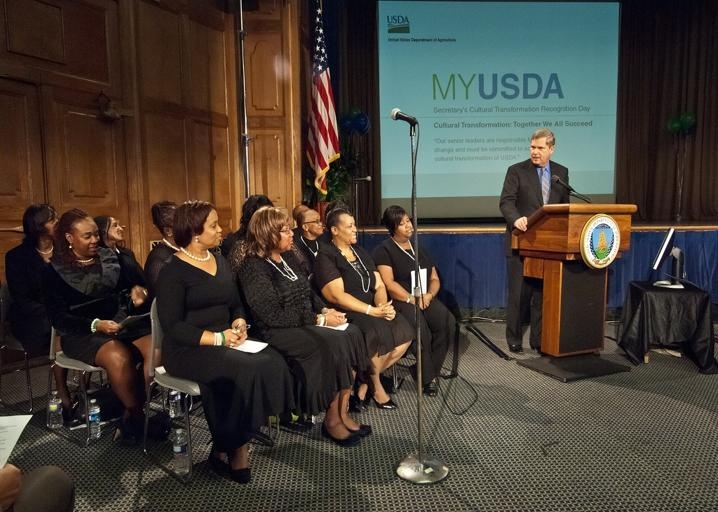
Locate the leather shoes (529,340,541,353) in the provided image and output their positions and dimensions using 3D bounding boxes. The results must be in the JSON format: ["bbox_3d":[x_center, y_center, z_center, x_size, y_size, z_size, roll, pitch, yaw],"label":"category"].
[{"bbox_3d":[1.867,0.944,5.564,0.057,0.137,0.170,-3,-2,-35],"label":"leather shoes"}]

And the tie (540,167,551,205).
[{"bbox_3d":[1.907,-0.737,5.365,0.134,0.372,0.119,-3,9,-16],"label":"tie"}]

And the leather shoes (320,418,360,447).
[{"bbox_3d":[-0.141,1.367,4.095,0.302,0.144,0.127,-2,-4,28],"label":"leather shoes"}]

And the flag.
[{"bbox_3d":[-0.502,-2.204,7.390,0.390,2.679,0.472,-3,9,-17],"label":"flag"}]

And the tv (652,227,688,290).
[{"bbox_3d":[3.235,0.009,5.487,0.278,0.618,0.382,5,4,26],"label":"tv"}]

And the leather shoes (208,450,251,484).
[{"bbox_3d":[-0.909,1.496,3.783,0.380,0.179,0.144,9,9,32],"label":"leather shoes"}]

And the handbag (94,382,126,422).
[{"bbox_3d":[-2.029,1.202,4.330,0.190,0.346,0.195,-22,-16,-24],"label":"handbag"}]

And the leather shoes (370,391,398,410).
[{"bbox_3d":[0.214,1.248,4.559,0.243,0.116,0.088,-8,-7,32],"label":"leather shoes"}]

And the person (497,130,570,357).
[{"bbox_3d":[1.802,-0.127,5.455,0.616,2.337,0.788,6,11,38],"label":"person"}]

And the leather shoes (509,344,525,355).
[{"bbox_3d":[1.672,0.977,5.608,0.102,0.087,0.035,1,-38,0],"label":"leather shoes"}]
